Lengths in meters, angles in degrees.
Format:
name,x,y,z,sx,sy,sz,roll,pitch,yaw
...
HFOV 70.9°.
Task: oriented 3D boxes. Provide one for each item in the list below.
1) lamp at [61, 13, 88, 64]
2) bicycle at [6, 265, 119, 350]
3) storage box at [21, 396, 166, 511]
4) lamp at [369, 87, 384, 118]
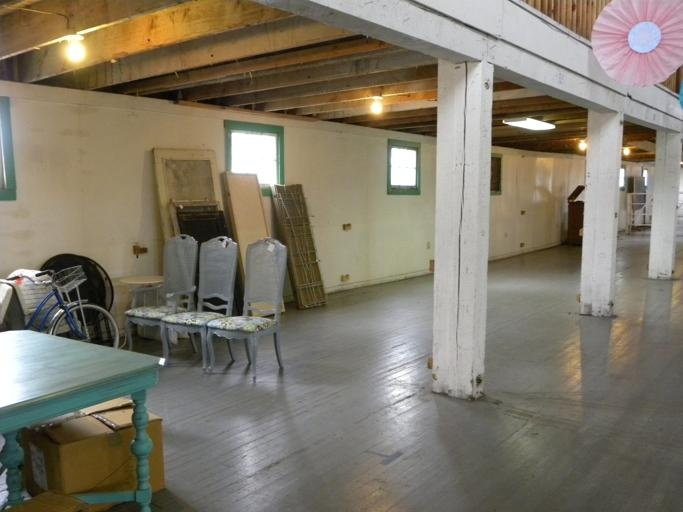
name,x,y,z,sx,sy,sz,roll,pitch,yaw
lamp,-2.573,-2.046,4.610,0.206,0.388,0.206,-5,16,-3
bicycle,-2.985,0.519,5.104,1.388,0.893,0.668,-6,9,-39
storage box,-1.606,0.974,3.031,0.739,0.576,0.742,-5,4,-39
lamp,0.514,-2.213,6.847,0.218,0.446,0.222,0,2,-21
